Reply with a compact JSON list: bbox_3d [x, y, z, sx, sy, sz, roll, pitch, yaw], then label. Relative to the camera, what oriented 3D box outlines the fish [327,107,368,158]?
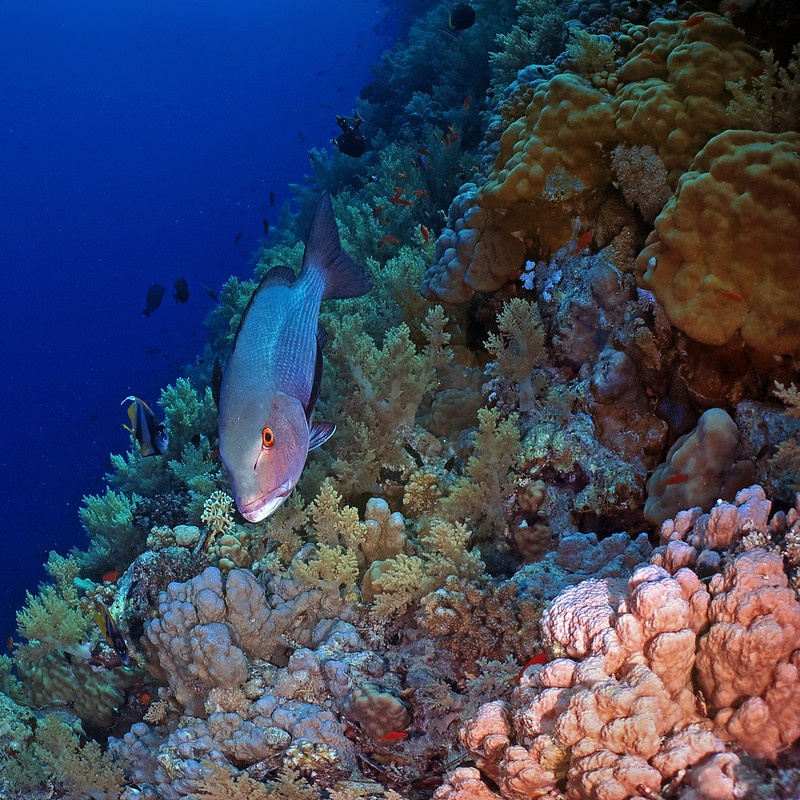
[{"bbox_3d":[-0.517,-2.771,10.382,0.266,0.447,0.705,3,16,8],"label":"fish"}]

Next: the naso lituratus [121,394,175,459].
[{"bbox_3d":[-2.052,0.103,7.935,0.206,0.423,0.617,-17,51,-42],"label":"naso lituratus"}]
